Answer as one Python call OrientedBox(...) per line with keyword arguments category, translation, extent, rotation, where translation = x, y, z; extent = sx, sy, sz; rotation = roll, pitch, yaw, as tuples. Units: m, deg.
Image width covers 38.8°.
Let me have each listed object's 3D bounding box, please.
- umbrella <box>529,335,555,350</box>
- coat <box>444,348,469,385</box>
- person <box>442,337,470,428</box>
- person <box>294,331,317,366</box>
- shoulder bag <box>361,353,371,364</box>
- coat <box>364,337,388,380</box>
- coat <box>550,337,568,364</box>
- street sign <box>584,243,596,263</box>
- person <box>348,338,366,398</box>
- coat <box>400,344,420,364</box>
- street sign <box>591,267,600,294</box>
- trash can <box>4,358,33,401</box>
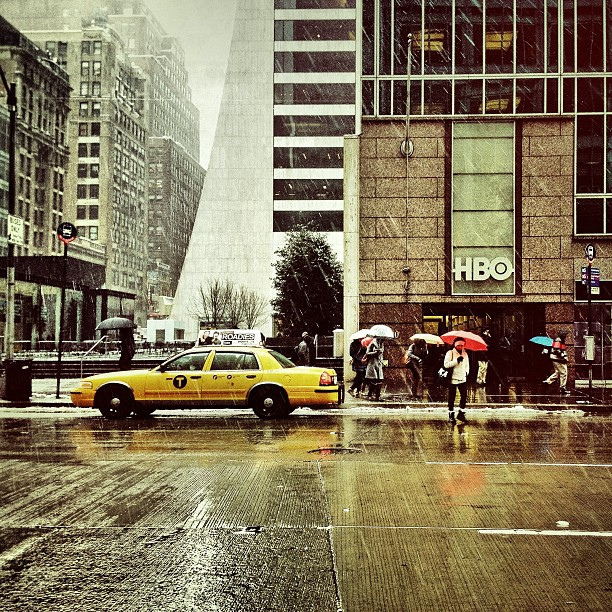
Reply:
OrientedBox(category="umbrella", translation=(6.100, 0.955, 22.227), extent=(0.585, 0.349, 0.900), rotation=(-3, -4, 16))
OrientedBox(category="coat", translation=(2.762, 1.161, 15.992), extent=(0.475, 0.838, 0.473), rotation=(0, -7, -6))
OrientedBox(category="person", translation=(2.817, 1.408, 16.156), extent=(0.452, 1.612, 1.557), rotation=(-1, -3, 11))
OrientedBox(category="person", translation=(-0.002, 1.534, 30.063), extent=(0.317, 0.526, 1.253), rotation=(-11, -46, -8))
OrientedBox(category="shoulder bag", translation=(1.475, 1.311, 20.978), extent=(0.062, 0.216, 0.133), rotation=(2, 22, -34))
OrientedBox(category="coat", translation=(1.662, 1.280, 20.969), extent=(0.410, 1.035, 0.505), rotation=(-1, -3, 2))
OrientedBox(category="coat", translation=(6.545, 1.163, 22.389), extent=(0.391, 0.704, 1.122), rotation=(-2, -4, 19))
OrientedBox(category="street sign", translation=(8.096, -1.497, 24.695), extent=(0.157, 0.846, 0.470), rotation=(-2, -6, 28))
OrientedBox(category="person", translation=(1.360, 1.375, 21.531), extent=(0.503, 1.667, 0.471), rotation=(7, 27, 13))
OrientedBox(category="coat", translation=(2.837, 1.330, 23.489), extent=(0.248, 0.606, 0.511), rotation=(10, -32, 30))
OrientedBox(category="street sign", translation=(7.731, -0.661, 23.121), extent=(0.082, 1.094, 0.653), rotation=(0, 0, 27))
OrientedBox(category="trash can", translation=(-6.870, 1.806, 21.133), extent=(0.634, 1.316, 0.787), rotation=(-2, -5, 11))
